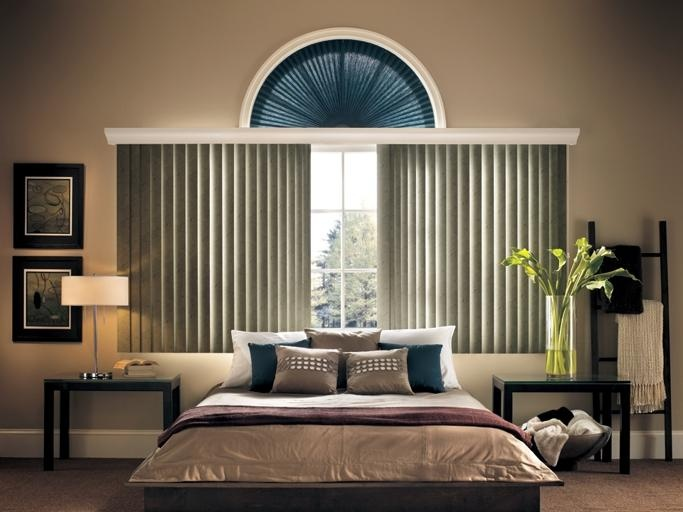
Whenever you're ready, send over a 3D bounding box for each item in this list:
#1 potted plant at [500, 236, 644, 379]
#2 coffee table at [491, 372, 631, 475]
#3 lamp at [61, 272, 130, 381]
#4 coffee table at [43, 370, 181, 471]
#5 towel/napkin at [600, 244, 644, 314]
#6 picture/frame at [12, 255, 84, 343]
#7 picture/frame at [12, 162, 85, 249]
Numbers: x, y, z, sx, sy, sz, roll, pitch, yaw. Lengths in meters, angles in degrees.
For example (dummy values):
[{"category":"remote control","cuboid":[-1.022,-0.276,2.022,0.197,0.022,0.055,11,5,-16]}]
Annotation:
[{"category":"potted plant","cuboid":[1.926,0.529,6.871,1.177,1.207,1.133,8,-9,-37]},{"category":"coffee table","cuboid":[1.879,1.354,6.595,0.912,0.701,0.871,0,-4,3]},{"category":"lamp","cuboid":[-2.112,0.611,6.638,0.563,0.878,0.466,-1,-1,-17]},{"category":"coffee table","cuboid":[-1.967,1.421,6.676,1.010,0.755,0.564,1,-6,-10]},{"category":"towel/napkin","cuboid":[2.458,0.207,6.651,0.390,0.550,0.137,-1,-1,9]},{"category":"picture/frame","cuboid":[-2.596,0.403,6.771,0.730,0.958,0.073,0,-1,-4]},{"category":"picture/frame","cuboid":[-2.620,-0.427,6.843,0.734,0.953,0.038,0,1,1]}]
